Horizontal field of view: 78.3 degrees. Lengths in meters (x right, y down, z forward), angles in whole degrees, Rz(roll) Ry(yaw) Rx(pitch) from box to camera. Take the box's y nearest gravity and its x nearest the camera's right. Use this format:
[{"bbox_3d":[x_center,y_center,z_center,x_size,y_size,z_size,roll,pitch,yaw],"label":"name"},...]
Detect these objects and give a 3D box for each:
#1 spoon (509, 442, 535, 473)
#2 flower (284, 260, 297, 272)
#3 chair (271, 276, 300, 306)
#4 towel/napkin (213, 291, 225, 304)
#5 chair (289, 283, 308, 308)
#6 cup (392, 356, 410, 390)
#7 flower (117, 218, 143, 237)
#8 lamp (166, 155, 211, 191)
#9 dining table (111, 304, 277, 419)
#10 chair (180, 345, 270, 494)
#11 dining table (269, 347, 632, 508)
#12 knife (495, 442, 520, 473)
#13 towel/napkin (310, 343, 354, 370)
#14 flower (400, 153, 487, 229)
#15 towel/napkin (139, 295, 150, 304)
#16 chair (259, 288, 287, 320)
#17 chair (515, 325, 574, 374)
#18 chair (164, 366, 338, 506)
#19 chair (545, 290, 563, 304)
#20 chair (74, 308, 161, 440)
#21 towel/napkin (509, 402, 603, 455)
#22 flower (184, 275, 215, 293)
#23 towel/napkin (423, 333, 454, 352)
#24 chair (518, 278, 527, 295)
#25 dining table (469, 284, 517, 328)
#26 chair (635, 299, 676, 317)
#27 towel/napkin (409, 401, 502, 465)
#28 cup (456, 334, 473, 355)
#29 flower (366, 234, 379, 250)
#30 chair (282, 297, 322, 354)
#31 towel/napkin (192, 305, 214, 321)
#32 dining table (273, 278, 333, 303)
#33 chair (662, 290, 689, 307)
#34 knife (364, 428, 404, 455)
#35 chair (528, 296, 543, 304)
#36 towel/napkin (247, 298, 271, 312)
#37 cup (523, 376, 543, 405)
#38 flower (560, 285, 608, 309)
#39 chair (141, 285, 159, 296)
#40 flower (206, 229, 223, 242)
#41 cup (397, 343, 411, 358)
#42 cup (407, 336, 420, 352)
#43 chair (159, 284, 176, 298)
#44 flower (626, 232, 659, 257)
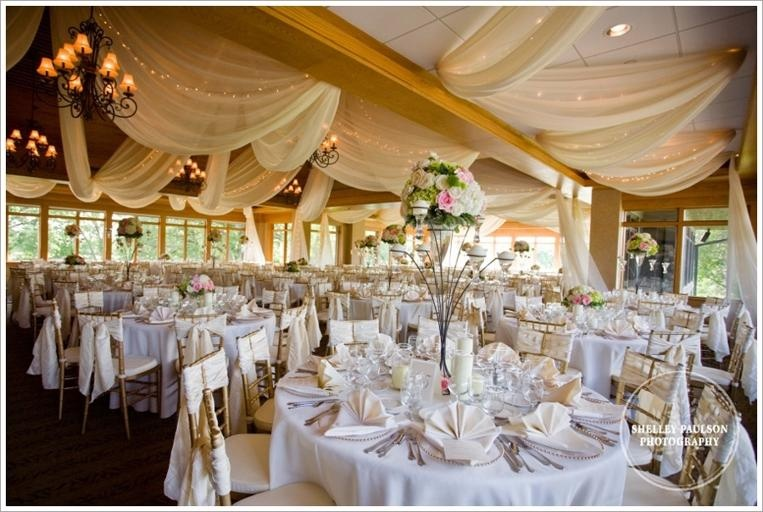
[{"bbox_3d":[1.034,1.506,3.530,0.124,0.176,0.206,2,-5,-21],"label":"spoon"},{"bbox_3d":[-2.077,0.243,10.923,0.245,0.260,0.570,1,-6,-8],"label":"flower"},{"bbox_3d":[-2.020,0.736,9.848,0.418,0.692,0.444,7,15,13],"label":"chair"},{"bbox_3d":[-2.357,0.594,6.796,0.172,0.172,0.177,-1,-2,13],"label":"towel/napkin"},{"bbox_3d":[-1.782,0.842,10.015,0.386,0.493,0.347,2,-9,21],"label":"chair"},{"bbox_3d":[0.190,1.027,4.199,0.224,0.250,0.219,-2,-3,0],"label":"cup"},{"bbox_3d":[-4.795,-0.528,8.854,0.383,0.400,0.390,4,0,-5],"label":"flower"},{"bbox_3d":[-4.424,-1.949,10.746,0.808,1.098,0.798,-2,3,-13],"label":"lamp"},{"bbox_3d":[-2.500,1.254,6.228,1.384,0.856,1.409,0,-5,-4],"label":"dining table"},{"bbox_3d":[-1.290,1.710,4.276,0.872,1.600,0.862,-2,5,-12],"label":"chair"},{"bbox_3d":[0.413,1.515,3.647,2.773,0.822,0.446,0,-4,9],"label":"dining table"},{"bbox_3d":[0.954,1.503,3.551,0.056,0.041,0.356,-15,12,-14],"label":"knife"},{"bbox_3d":[-0.428,0.936,4.313,0.294,0.111,0.301,-3,-1,7],"label":"towel/napkin"},{"bbox_3d":[0.572,-0.644,4.445,0.768,0.598,0.641,21,-3,-20],"label":"flower"},{"bbox_3d":[-3.287,0.603,6.526,0.127,0.032,0.122,-10,12,-21],"label":"towel/napkin"},{"bbox_3d":[-1.736,0.766,7.516,0.366,0.626,0.399,1,-5,7],"label":"chair"},{"bbox_3d":[1.920,1.009,5.423,0.486,0.661,0.555,7,0,40],"label":"chair"},{"bbox_3d":[-1.055,1.395,4.661,1.249,1.897,1.318,1,-1,7],"label":"chair"},{"bbox_3d":[3.712,0.877,10.139,0.254,0.262,0.423,5,1,1],"label":"chair"},{"bbox_3d":[-3.098,1.359,5.579,0.891,1.379,0.698,0,-4,11],"label":"chair"},{"bbox_3d":[1.359,1.353,3.652,0.469,0.196,0.374,1,-3,29],"label":"towel/napkin"},{"bbox_3d":[-2.421,0.369,6.312,0.264,0.203,0.264,3,1,-15],"label":"flower"},{"bbox_3d":[0.561,0.853,4.642,0.220,0.111,0.270,0,-3,-2],"label":"towel/napkin"},{"bbox_3d":[3.950,0.855,13.095,0.224,0.420,0.669,0,-5,16],"label":"chair"},{"bbox_3d":[2.136,0.961,9.121,0.818,1.093,0.733,4,10,28],"label":"dining table"},{"bbox_3d":[4.644,0.846,7.944,0.452,0.294,0.459,1,3,-3],"label":"chair"},{"bbox_3d":[0.587,1.341,3.597,0.450,0.140,0.456,26,45,27],"label":"towel/napkin"},{"bbox_3d":[0.745,0.785,4.203,0.148,0.173,0.147,1,3,0],"label":"cup"},{"bbox_3d":[-0.217,-0.399,11.820,0.315,0.348,0.348,0,-12,8],"label":"flower"},{"bbox_3d":[-1.137,1.118,7.819,0.584,0.840,0.682,-14,3,-35],"label":"chair"},{"bbox_3d":[-2.247,0.751,5.889,0.219,0.085,0.227,-1,8,40],"label":"towel/napkin"},{"bbox_3d":[-1.884,0.700,10.593,0.801,0.659,0.874,1,-3,-7],"label":"dining table"},{"bbox_3d":[5.598,0.803,8.908,0.448,0.221,0.587,2,5,18],"label":"chair"},{"bbox_3d":[0.028,1.417,3.590,0.109,0.033,0.378,25,25,36],"label":"knife"},{"bbox_3d":[2.621,0.746,7.992,0.200,0.112,0.620,-1,-6,23],"label":"chair"},{"bbox_3d":[-1.975,0.784,7.545,0.263,0.113,0.366,2,-5,2],"label":"towel/napkin"},{"bbox_3d":[1.261,1.107,3.968,0.195,0.317,0.194,2,-1,0],"label":"cup"},{"bbox_3d":[2.822,0.575,6.437,0.369,0.236,0.357,6,-4,-32],"label":"flower"},{"bbox_3d":[-3.868,0.571,7.816,0.161,0.106,0.160,2,5,1],"label":"chair"},{"bbox_3d":[-4.242,-0.530,12.266,0.468,0.192,0.482,-3,-4,22],"label":"flower"},{"bbox_3d":[0.217,0.886,4.458,0.095,0.074,0.098,4,-1,0],"label":"cup"},{"bbox_3d":[0.326,0.849,4.595,0.114,0.110,0.114,5,-8,1],"label":"cup"},{"bbox_3d":[-3.427,0.561,7.472,0.224,0.199,2.424,3,-6,-25],"label":"chair"},{"bbox_3d":[4.843,-0.234,8.709,0.415,0.421,0.380,5,-6,-41],"label":"flower"}]
